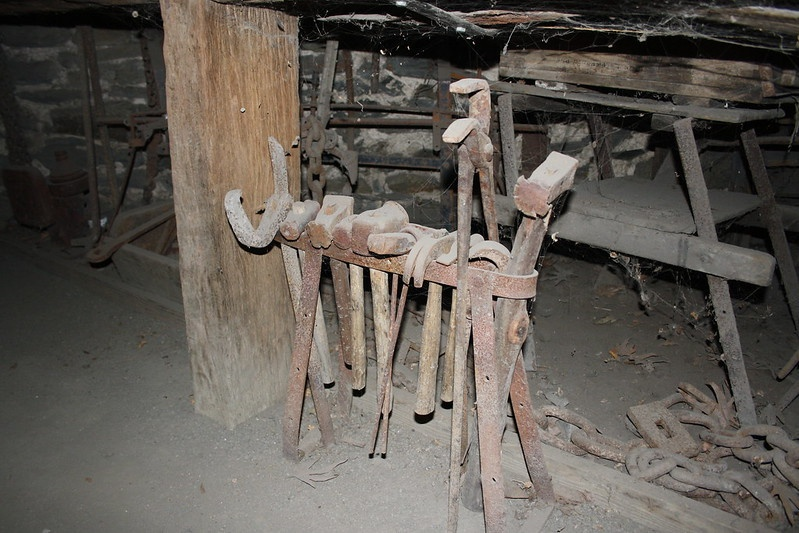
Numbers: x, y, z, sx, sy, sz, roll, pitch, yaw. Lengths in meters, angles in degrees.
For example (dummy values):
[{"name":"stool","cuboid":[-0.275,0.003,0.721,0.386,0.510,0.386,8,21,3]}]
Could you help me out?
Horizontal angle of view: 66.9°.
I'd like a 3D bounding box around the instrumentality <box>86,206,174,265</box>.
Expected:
[{"name":"instrumentality","cuboid":[-2.890,-0.320,6.594,0.179,0.077,1.026,25,43,10]}]
